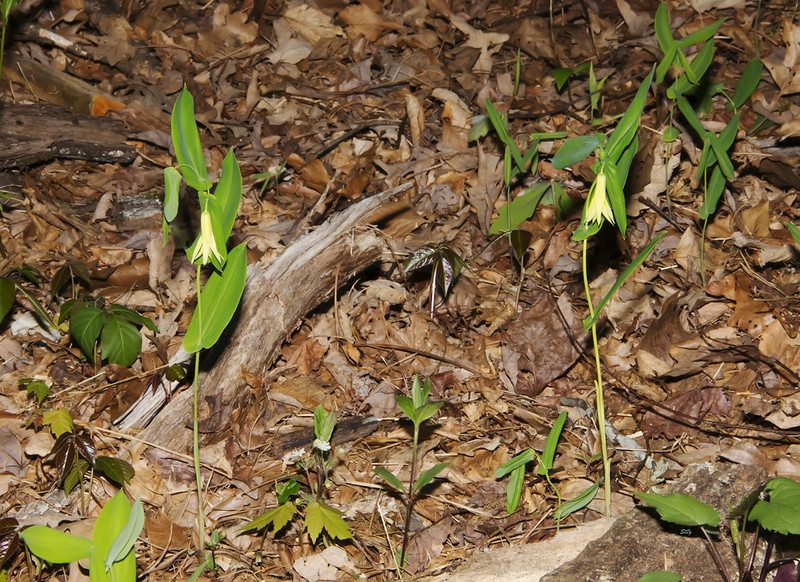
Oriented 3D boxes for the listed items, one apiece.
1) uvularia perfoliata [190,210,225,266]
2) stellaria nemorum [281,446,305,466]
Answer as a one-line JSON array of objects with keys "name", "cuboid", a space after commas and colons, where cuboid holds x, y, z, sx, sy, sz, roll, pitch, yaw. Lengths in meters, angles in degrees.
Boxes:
[{"name": "uvularia perfoliata", "cuboid": [-0.839, -0.231, 3.521, 0.136, 0.274, 0.220, -1, 58, -7]}, {"name": "stellaria nemorum", "cuboid": [-0.541, 0.835, 4.077, 0.093, 0.038, 0.092, -28, 24, -34]}]
